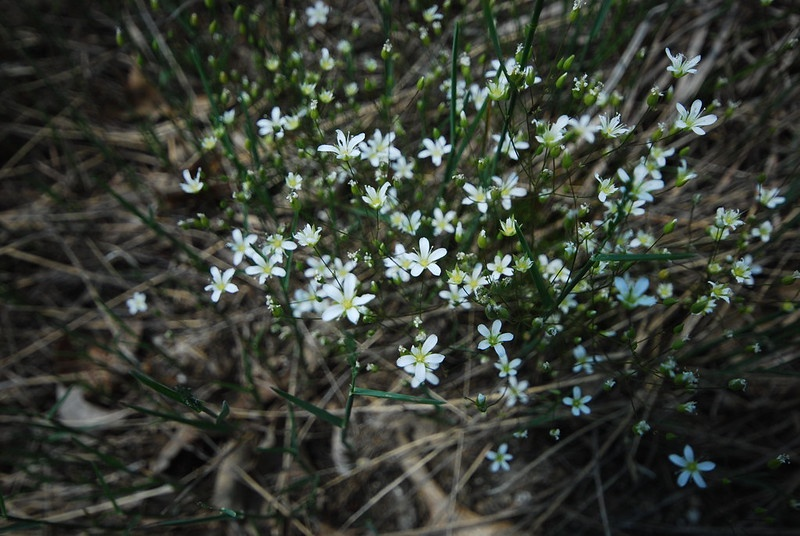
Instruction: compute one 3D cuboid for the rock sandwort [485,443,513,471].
[{"bbox_3d":[0.699,1.347,4.641,0.182,0.106,0.174,-19,68,-7],"label":"rock sandwort"}]
